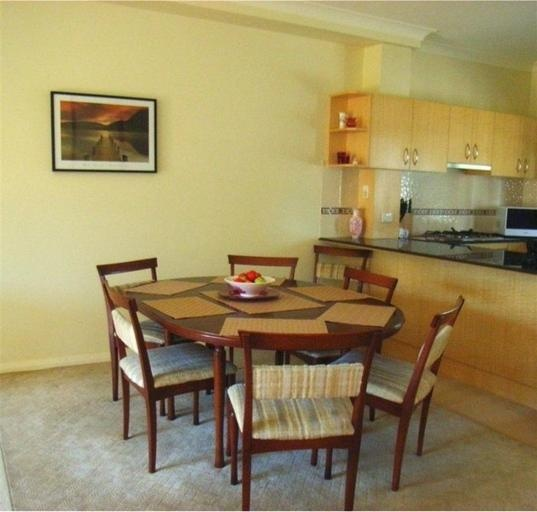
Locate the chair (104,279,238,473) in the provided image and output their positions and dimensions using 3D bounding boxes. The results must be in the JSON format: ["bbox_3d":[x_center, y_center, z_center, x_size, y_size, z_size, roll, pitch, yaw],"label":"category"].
[{"bbox_3d":[-0.495,0.583,2.509,0.631,0.766,0.564,0,4,-17],"label":"chair"}]

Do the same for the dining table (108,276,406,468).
[{"bbox_3d":[0.005,0.555,2.465,1.400,0.478,0.994,7,-3,-41],"label":"dining table"}]

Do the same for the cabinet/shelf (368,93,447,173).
[{"bbox_3d":[1.479,-1.165,4.679,0.383,0.658,0.942,-17,26,-29],"label":"cabinet/shelf"}]

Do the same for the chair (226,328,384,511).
[{"bbox_3d":[0.130,0.647,1.931,0.531,0.810,0.313,-1,10,-10],"label":"chair"}]

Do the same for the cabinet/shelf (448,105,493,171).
[{"bbox_3d":[2.207,-1.224,5.023,0.290,0.596,0.717,-17,25,-20],"label":"cabinet/shelf"}]

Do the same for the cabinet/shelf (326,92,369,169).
[{"bbox_3d":[0.761,-1.297,4.553,0.322,0.420,0.274,11,15,22],"label":"cabinet/shelf"}]

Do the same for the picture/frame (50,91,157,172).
[{"bbox_3d":[-1.258,-0.924,3.591,0.744,0.474,0.016,-2,3,-29],"label":"picture/frame"}]

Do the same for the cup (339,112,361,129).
[{"bbox_3d":[0.719,-1.250,4.498,0.191,0.172,0.208,1,9,0],"label":"cup"}]

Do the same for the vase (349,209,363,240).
[{"bbox_3d":[0.847,-0.309,4.674,0.144,0.283,0.303,3,9,9],"label":"vase"}]

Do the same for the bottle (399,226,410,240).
[{"bbox_3d":[1.350,-0.222,4.866,0.114,0.110,0.108,0,2,1],"label":"bottle"}]

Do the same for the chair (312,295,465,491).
[{"bbox_3d":[0.604,0.638,2.421,0.571,0.797,0.502,4,5,27],"label":"chair"}]

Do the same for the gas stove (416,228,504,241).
[{"bbox_3d":[2.023,-0.225,5.112,1.065,0.066,0.674,-4,9,-31],"label":"gas stove"}]
